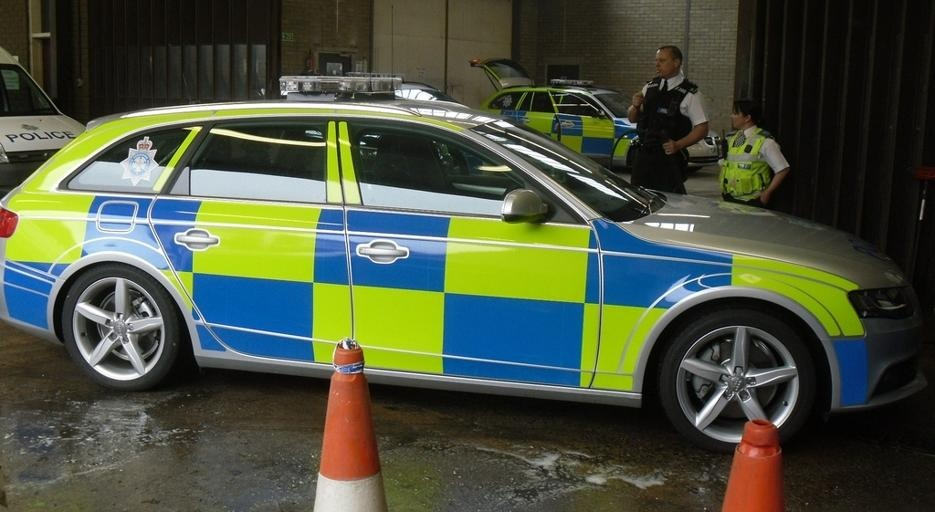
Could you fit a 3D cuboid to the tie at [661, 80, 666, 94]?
[{"bbox_3d":[2.190,-1.884,7.672,0.074,0.109,0.028,0,-12,8],"label":"tie"}]
